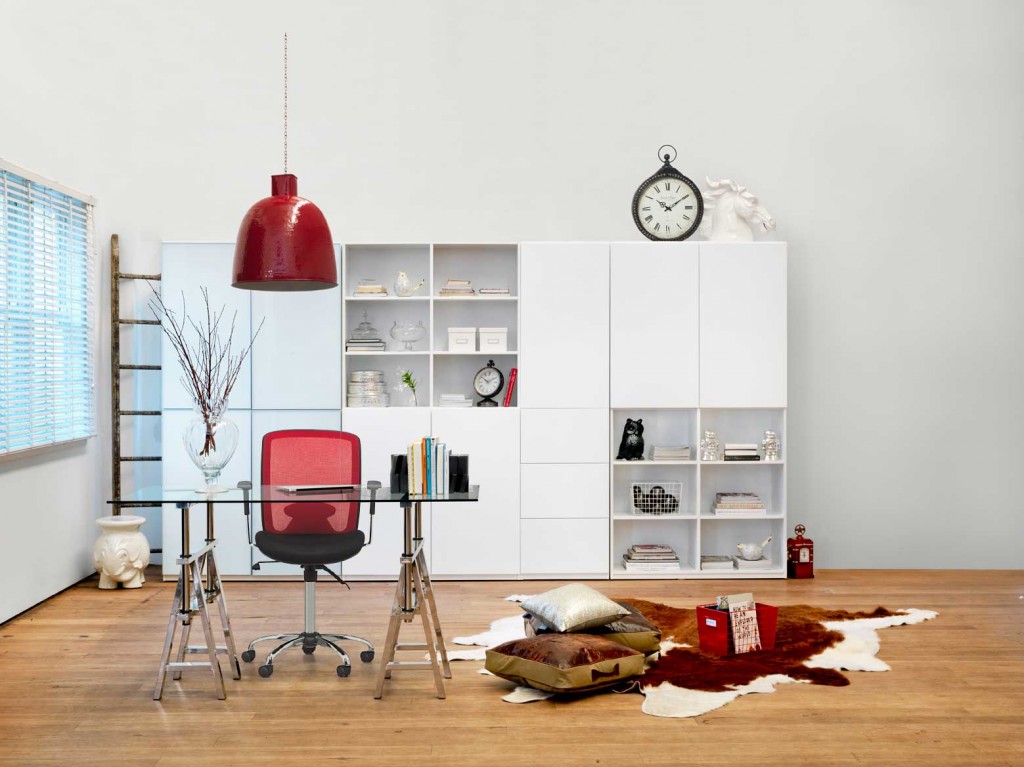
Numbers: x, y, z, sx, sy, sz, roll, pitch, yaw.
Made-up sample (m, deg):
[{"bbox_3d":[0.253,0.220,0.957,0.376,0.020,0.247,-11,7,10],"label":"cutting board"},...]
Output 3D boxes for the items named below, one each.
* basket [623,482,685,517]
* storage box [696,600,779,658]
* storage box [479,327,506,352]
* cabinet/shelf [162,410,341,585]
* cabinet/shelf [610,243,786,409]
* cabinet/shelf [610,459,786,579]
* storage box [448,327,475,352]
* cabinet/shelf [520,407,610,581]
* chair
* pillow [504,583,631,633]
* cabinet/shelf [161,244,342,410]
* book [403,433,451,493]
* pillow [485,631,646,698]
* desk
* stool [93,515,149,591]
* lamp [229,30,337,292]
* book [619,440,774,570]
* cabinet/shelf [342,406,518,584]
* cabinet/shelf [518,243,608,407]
[{"bbox_3d":[1.096,0.880,7.476,0.409,0.229,0.277,0,9,3],"label":"basket"},{"bbox_3d":[1.376,1.510,6.029,0.537,0.244,0.539,8,-19,-40],"label":"storage box"},{"bbox_3d":[-0.152,-0.332,7.475,0.207,0.178,0.212,-1,9,-5],"label":"storage box"},{"bbox_3d":[-1.689,0.713,6.410,1.359,1.274,0.432,0,-1,-2],"label":"cabinet/shelf"},{"bbox_3d":[1.323,-0.476,7.358,1.253,1.128,0.419,0,-2,-1],"label":"cabinet/shelf"},{"bbox_3d":[1.403,1.021,7.481,1.286,0.848,0.411,-1,0,7],"label":"cabinet/shelf"},{"bbox_3d":[-0.380,-0.335,7.459,0.181,0.138,0.181,0,-2,-1],"label":"storage box"},{"bbox_3d":[0.388,0.816,7.354,0.634,1.203,0.219,0,10,0],"label":"cabinet/shelf"},{"bbox_3d":[-1.222,0.970,5.933,0.851,1.460,0.785,-1,-8,-1],"label":"chair"},{"bbox_3d":[0.405,1.336,5.781,0.337,0.107,0.349,-5,7,-25],"label":"pillow"},{"bbox_3d":[-1.848,-0.405,6.941,1.248,1.201,0.409,0,-2,-2],"label":"cabinet/shelf"},{"bbox_3d":[-0.463,0.486,5.650,0.280,0.381,0.276,1,-3,4],"label":"book"},{"bbox_3d":[0.313,1.618,5.625,0.738,0.304,0.671,4,-5,-38],"label":"pillow"},{"bbox_3d":[-1.187,1.190,5.690,1.912,1.070,0.735,0,-5,3],"label":"desk"},{"bbox_3d":[-2.910,1.274,7.341,0.414,0.515,0.458,1,4,8],"label":"stool"},{"bbox_3d":[-1.354,-1.304,5.703,0.521,1.618,1.646,-2,10,-13],"label":"lamp"},{"bbox_3d":[1.397,0.948,7.505,1.295,0.944,0.387,0,10,-2],"label":"book"},{"bbox_3d":[-0.572,0.798,6.809,1.311,1.224,0.418,0,-4,-1],"label":"cabinet/shelf"},{"bbox_3d":[0.380,-0.438,7.355,0.651,1.215,0.195,0,10,0],"label":"cabinet/shelf"}]
